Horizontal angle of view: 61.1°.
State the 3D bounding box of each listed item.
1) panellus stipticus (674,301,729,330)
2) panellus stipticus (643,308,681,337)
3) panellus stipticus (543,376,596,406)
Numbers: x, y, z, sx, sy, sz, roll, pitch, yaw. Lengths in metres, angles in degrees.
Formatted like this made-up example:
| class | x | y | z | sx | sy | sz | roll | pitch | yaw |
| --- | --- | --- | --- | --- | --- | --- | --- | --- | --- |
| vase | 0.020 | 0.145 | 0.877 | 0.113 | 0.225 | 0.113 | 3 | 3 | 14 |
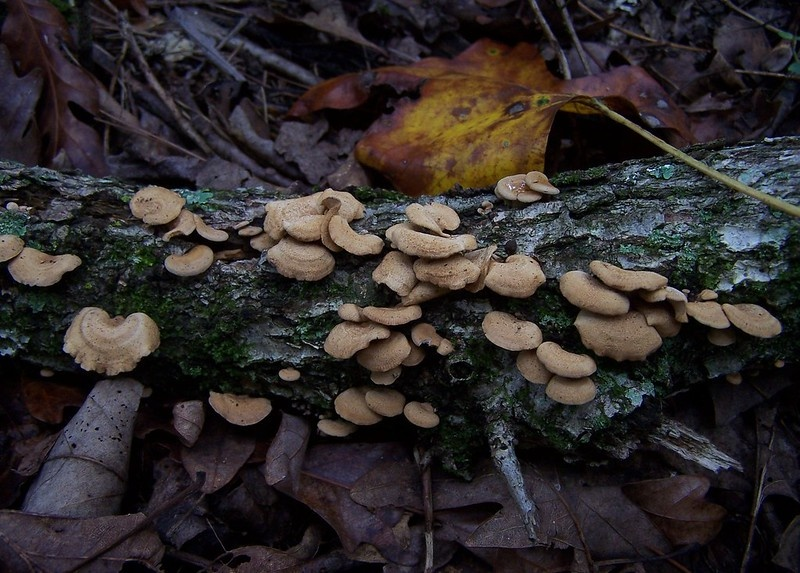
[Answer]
| class | x | y | z | sx | sy | sz | roll | pitch | yaw |
| --- | --- | --- | --- | --- | --- | --- | --- | --- | --- |
| panellus stipticus | 2.387 | 0.219 | 5.297 | 0.255 | 0.072 | 0.239 | 19 | 43 | 18 |
| panellus stipticus | 2.030 | 0.297 | 5.355 | 0.232 | 0.077 | 0.234 | 46 | 53 | -3 |
| panellus stipticus | 1.351 | 0.815 | 5.358 | 0.364 | 0.134 | 0.202 | 8 | 46 | -4 |
